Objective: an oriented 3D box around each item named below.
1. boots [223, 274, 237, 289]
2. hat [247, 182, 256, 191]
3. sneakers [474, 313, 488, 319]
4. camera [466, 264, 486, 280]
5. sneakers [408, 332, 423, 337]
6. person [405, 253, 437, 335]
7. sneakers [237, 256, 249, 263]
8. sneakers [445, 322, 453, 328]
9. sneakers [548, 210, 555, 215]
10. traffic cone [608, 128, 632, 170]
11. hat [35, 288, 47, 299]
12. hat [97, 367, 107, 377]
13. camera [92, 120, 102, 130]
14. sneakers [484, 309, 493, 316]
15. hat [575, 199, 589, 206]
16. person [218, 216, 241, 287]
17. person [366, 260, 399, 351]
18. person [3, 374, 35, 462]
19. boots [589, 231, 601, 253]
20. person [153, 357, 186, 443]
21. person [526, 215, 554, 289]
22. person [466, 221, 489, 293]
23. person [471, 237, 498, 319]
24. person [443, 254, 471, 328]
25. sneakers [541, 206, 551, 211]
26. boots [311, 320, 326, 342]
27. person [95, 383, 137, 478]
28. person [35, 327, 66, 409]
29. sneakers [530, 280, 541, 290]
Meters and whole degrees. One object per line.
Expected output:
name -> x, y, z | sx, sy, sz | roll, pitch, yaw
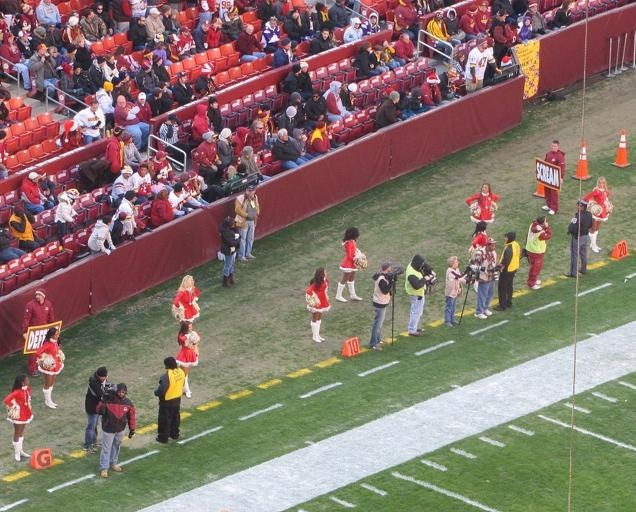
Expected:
boots -> -2.109, 0.581, 42.617 | 0.277, 0.301, 0.294 | 12, 19, 35
hat -> -1.604, -1.701, 43.651 | 0.207, 0.165, 0.073 | -1, -3, 10
sneakers -> 3.775, 1.370, 41.277 | 0.230, 0.089, 0.118 | 5, 32, 12
camera -> 3.610, 0.360, 40.616 | 0.332, 0.410, 0.160 | 4, -4, 8
sneakers -> 2.211, 1.760, 40.653 | 0.297, 0.113, 0.096 | -2, 21, 3
person -> 2.350, 0.949, 40.777 | 0.774, 1.841, 0.761 | 0, 48, 7
sneakers -> -1.816, 0.089, 43.607 | 0.186, 0.116, 0.103 | -7, 10, 2
sneakers -> 3.006, 1.571, 40.970 | 0.191, 0.081, 0.067 | 6, 49, 15
sneakers -> 5.919, -1.117, 45.124 | 0.185, 0.158, 0.134 | -5, 12, 11
traffic cone -> 8.078, -2.811, 47.724 | 0.648, 1.068, 0.659 | 21, 42, 35
hat -> -6.096, 0.843, 39.129 | 0.204, 0.228, 0.248 | 5, -11, 14
hat -> -4.397, 2.369, 36.541 | 0.165, 0.150, 0.204 | 10, 19, 0
camera -> -5.500, -3.261, 44.659 | 0.215, 0.083, 0.153 | -30, -9, 27
sneakers -> 3.974, 1.293, 41.416 | 0.192, 0.083, 0.102 | 13, 35, 38
hat -> 6.291, -1.247, 42.169 | 0.259, 0.128, 0.345 | 9, 2, 39
person -> -2.102, -0.135, 42.530 | 0.556, 1.679, 1.123 | -9, 12, -3
person -> 1.471, 1.058, 40.238 | 0.859, 2.002, 1.433 | -8, 12, 1
person -> -6.197, 3.262, 37.181 | 0.545, 1.788, 1.219 | -10, 12, -10
boots -> 6.763, -0.330, 43.697 | 0.320, 0.429, 0.255 | 15, 51, 27
person -> -3.062, 2.992, 37.159 | 0.749, 1.843, 0.554 | -11, 12, -16
person -> 5.185, -0.116, 42.117 | 0.655, 1.822, 1.125 | -7, 12, 6
person -> 3.708, 0.081, 41.360 | 0.636, 1.913, 1.532 | 2, 8, 5
person -> 3.848, 0.529, 41.027 | 0.622, 1.870, 0.598 | -9, 12, -3
person -> 3.215, 0.878, 41.195 | 0.648, 1.667, 0.721 | 4, 45, 12
sneakers -> 5.758, -1.229, 45.348 | 0.146, 0.102, 0.313 | -7, 11, -2
boots -> 0.006, 1.708, 40.646 | 0.359, 0.440, 0.327 | 11, 31, 24
person -> -4.120, 3.500, 36.308 | 0.905, 1.960, 0.489 | -7, 12, 2
person -> -5.697, 2.389, 38.383 | 0.555, 1.791, 0.644 | -10, 12, -8
sneakers -> 5.186, 0.696, 42.398 | 0.115, 0.138, 0.359 | 15, 38, 34
